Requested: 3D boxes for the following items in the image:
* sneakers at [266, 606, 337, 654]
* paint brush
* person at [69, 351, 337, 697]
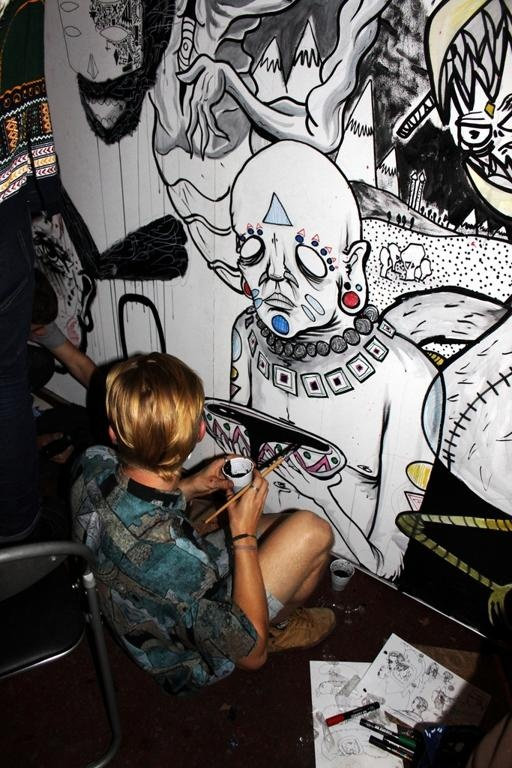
[{"bbox_3d":[0.123,0.665,1.618,0.214,0.104,0.095,-14,31,-19],"label":"sneakers"},{"bbox_3d":[0.005,0.278,1.597,0.039,0.410,0.021,42,50,7],"label":"paint brush"},{"bbox_3d":[-0.106,0.362,1.297,0.402,0.924,0.588,8,19,29],"label":"person"}]
